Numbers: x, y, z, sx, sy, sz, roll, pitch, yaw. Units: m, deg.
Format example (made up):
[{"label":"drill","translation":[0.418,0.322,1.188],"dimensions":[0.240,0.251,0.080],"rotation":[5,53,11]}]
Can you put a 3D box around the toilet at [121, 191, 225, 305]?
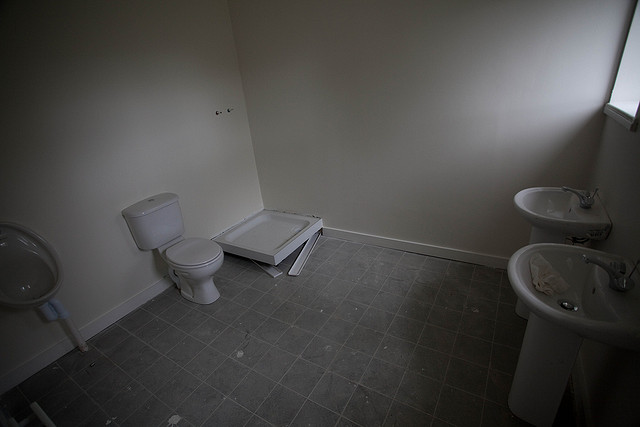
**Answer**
[{"label":"toilet","translation":[-1.249,0.345,3.564],"dimensions":[0.798,0.941,0.537],"rotation":[8,27,23]}]

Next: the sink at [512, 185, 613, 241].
[{"label":"sink","translation":[1.738,-0.039,2.818],"dimensions":[0.575,0.309,0.529],"rotation":[5,27,21]}]

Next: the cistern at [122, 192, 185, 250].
[{"label":"cistern","translation":[-1.509,0.069,3.424],"dimensions":[0.210,0.344,0.389],"rotation":[8,30,27]}]

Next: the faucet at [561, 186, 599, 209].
[{"label":"faucet","translation":[1.908,-0.150,2.811],"dimensions":[0.186,0.133,0.258],"rotation":[15,31,37]}]

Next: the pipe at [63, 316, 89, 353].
[{"label":"pipe","translation":[-1.998,1.005,3.172],"dimensions":[0.044,0.401,0.078],"rotation":[-15,20,46]}]

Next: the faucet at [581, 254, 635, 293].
[{"label":"faucet","translation":[1.655,0.324,2.249],"dimensions":[0.108,0.110,0.294],"rotation":[-15,25,-8]}]

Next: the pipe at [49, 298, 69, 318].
[{"label":"pipe","translation":[-2.067,0.744,3.040],"dimensions":[0.062,0.236,0.055],"rotation":[-11,37,19]}]

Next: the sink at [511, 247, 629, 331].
[{"label":"sink","translation":[1.495,0.450,2.389],"dimensions":[0.451,0.183,0.496],"rotation":[3,35,29]}]
